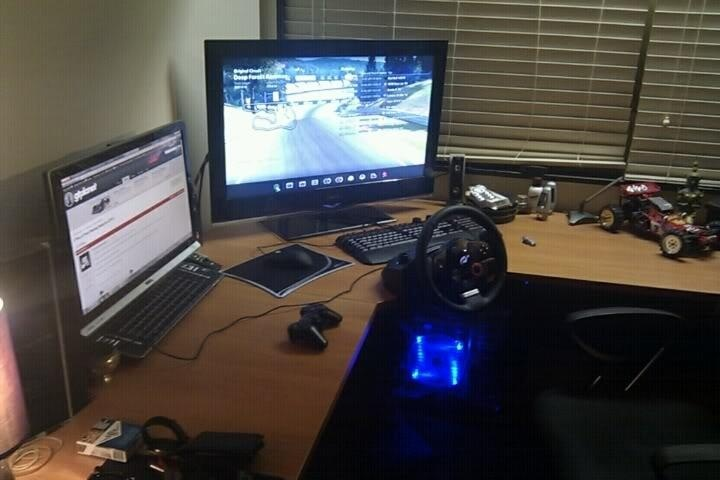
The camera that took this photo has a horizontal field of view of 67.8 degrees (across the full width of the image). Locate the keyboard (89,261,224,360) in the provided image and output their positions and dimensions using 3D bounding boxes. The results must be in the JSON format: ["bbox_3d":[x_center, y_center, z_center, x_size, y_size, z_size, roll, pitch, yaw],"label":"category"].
[{"bbox_3d":[-0.595,0.234,1.641,0.190,0.062,0.554,25,35,3],"label":"keyboard"}]

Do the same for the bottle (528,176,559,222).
[{"bbox_3d":[0.813,-0.188,2.418,0.079,0.163,0.272,2,32,8],"label":"bottle"}]

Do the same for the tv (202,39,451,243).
[{"bbox_3d":[-0.166,-0.404,2.130,0.797,0.590,0.195,-9,25,-26],"label":"tv"}]

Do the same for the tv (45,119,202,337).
[{"bbox_3d":[-0.693,-0.024,1.546,0.065,0.442,0.604,-10,14,14],"label":"tv"}]
